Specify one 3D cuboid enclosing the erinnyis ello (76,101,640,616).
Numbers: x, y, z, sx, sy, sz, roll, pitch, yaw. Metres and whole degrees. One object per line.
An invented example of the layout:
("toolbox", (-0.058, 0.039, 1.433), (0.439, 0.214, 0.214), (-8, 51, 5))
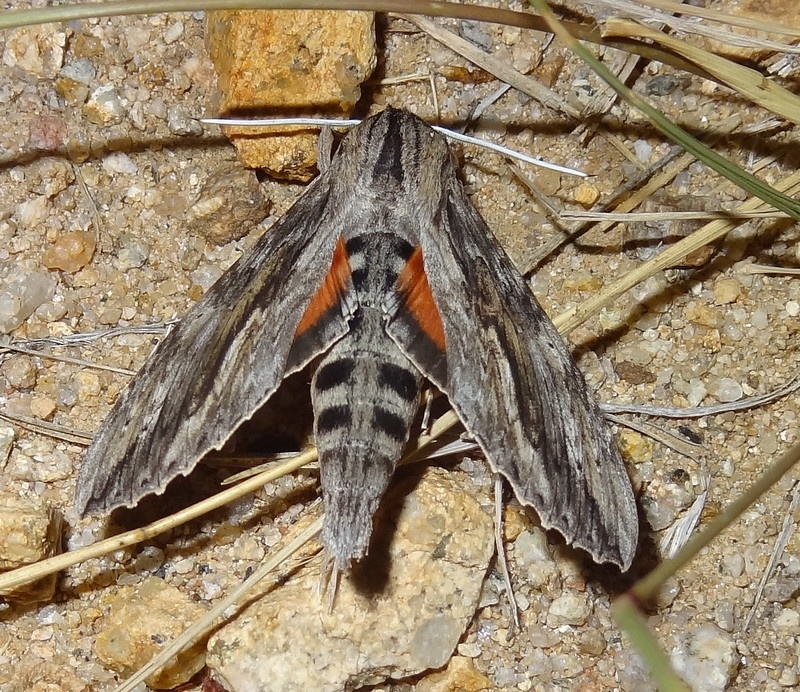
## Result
("erinnyis ello", (-0.042, -0.015, 2.376), (1.235, 0.412, 1.238), (7, 70, 5))
